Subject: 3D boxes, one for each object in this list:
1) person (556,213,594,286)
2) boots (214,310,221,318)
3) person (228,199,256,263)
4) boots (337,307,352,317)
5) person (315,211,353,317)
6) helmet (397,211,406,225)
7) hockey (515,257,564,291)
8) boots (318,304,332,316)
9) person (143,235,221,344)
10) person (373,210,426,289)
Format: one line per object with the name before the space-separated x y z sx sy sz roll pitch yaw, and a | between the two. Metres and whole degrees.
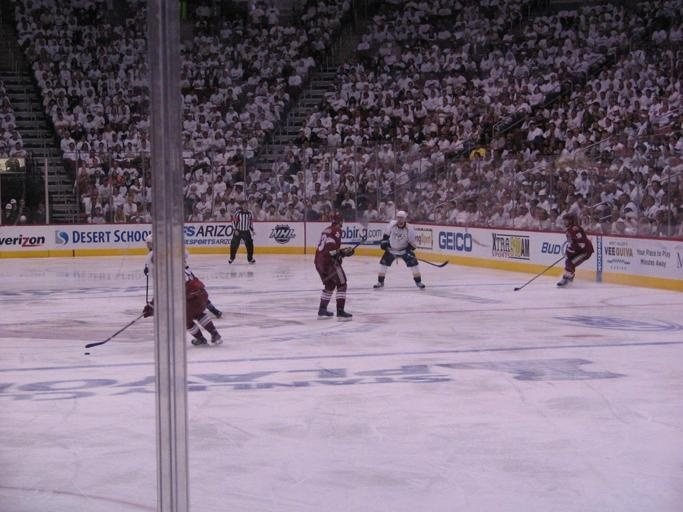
person | 4.033 -0.135 14.906 0.680 1.251 0.365 -8 11 -39
boots | -1.724 0.799 11.887 0.086 0.065 0.114 1 9 -38
person | -2.323 -0.577 19.757 0.611 1.427 1.370 -1 9 -7
boots | 0.045 0.789 11.965 0.201 0.150 0.143 -1 9 -3
person | -0.109 0.117 12.190 0.517 1.469 0.825 0 9 0
helmet | 1.044 -0.696 15.101 0.172 0.217 0.220 1 -1 20
hockey | 3.717 0.323 15.896 0.153 0.150 1.017 5 -31 -42
boots | -0.225 0.740 12.077 0.208 0.231 0.215 0 9 -1
person | -1.659 0.358 10.281 0.819 0.420 1.454 -22 45 -9
person | 1.057 -0.140 15.239 0.871 1.370 0.993 0 9 4
